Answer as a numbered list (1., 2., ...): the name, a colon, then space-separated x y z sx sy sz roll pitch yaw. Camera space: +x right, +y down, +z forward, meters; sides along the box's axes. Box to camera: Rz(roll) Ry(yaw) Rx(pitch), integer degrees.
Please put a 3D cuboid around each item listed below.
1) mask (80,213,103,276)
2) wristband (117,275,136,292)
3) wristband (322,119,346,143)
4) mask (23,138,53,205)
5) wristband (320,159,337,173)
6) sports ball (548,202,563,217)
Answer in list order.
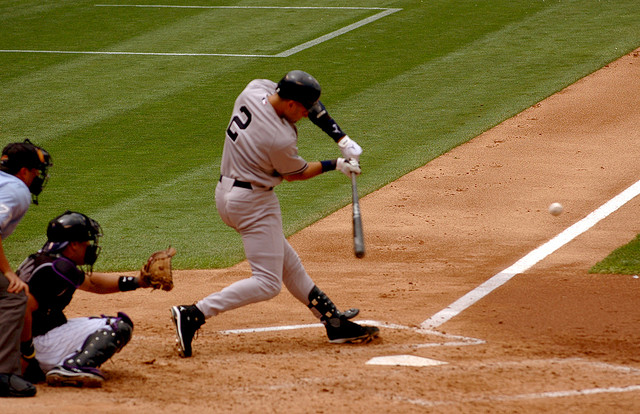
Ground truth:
1. mask: -2.210 0.386 9.428 0.309 0.563 0.249 13 -9 -1
2. wristband: -1.950 0.760 9.589 0.147 0.169 0.130 29 30 -20
3. wristband: 0.142 -0.810 10.103 0.297 0.140 0.180 37 67 8
4. mask: -2.805 -0.337 9.360 0.306 0.558 0.508 11 12 -22
5. wristband: 0.109 -0.422 9.925 0.163 0.152 0.257 -4 19 2
6. sports ball: 3.048 0.038 12.192 0.175 0.193 0.211 0 21 13
